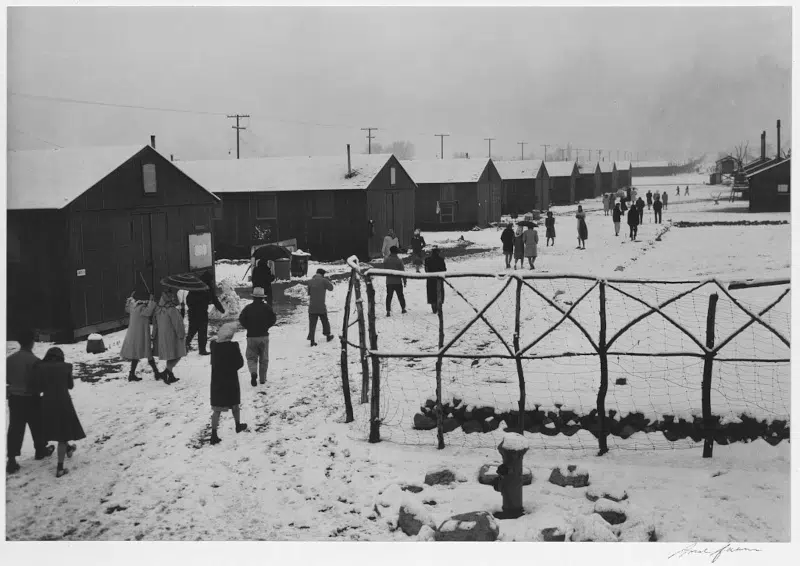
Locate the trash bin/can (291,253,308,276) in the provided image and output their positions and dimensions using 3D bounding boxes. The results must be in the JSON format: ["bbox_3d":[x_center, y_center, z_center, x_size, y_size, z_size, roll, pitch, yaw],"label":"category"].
[{"bbox_3d":[-3.595,-0.667,32.141,0.683,0.834,0.704,3,4,38],"label":"trash bin/can"}]

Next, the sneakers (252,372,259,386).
[{"bbox_3d":[-3.314,2.230,20.052,0.109,0.332,0.132,1,-25,-8],"label":"sneakers"}]

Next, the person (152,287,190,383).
[{"bbox_3d":[-5.276,1.274,20.116,0.664,2.127,0.490,-1,2,-17],"label":"person"}]

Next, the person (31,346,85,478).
[{"bbox_3d":[-6.571,2.443,16.989,0.820,2.592,0.731,-2,11,-17],"label":"person"}]

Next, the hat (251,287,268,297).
[{"bbox_3d":[-3.189,0.216,19.753,0.287,0.123,0.328,-1,7,-28],"label":"hat"}]

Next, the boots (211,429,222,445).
[{"bbox_3d":[-3.712,3.112,17.620,0.235,0.274,0.250,0,-7,-5],"label":"boots"}]
